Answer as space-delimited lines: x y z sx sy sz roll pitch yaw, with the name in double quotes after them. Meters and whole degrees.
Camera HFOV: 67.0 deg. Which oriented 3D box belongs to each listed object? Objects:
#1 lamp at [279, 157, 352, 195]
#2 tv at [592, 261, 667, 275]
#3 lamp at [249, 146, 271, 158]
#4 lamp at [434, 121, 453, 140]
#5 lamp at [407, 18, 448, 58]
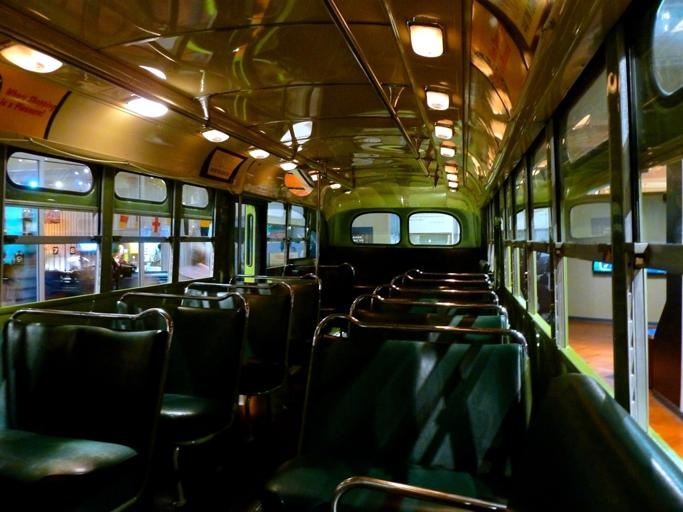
-0.492 -1.510 9.438 0.533 0.500 1.326 29 21 35 "lamp"
1.569 0.047 2.823 0.326 0.081 0.287 0 6 8 "tv"
-1.122 -1.494 7.044 0.156 0.055 0.158 -5 -9 30 "lamp"
1.200 -1.560 6.121 0.154 0.098 0.196 9 4 11 "lamp"
0.665 -1.639 3.878 0.290 0.081 0.403 16 -4 22 "lamp"
